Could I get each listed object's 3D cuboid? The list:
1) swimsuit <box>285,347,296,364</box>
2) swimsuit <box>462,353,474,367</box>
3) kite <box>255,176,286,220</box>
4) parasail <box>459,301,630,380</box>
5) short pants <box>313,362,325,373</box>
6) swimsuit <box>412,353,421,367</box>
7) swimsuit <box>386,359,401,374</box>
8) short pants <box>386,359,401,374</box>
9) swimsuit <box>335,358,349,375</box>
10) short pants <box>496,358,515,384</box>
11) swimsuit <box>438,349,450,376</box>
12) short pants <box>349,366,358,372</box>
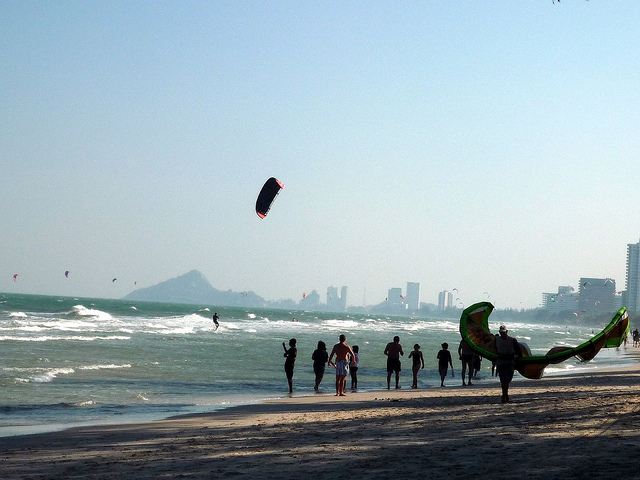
[{"bbox_3d":[-0.807,3.128,17.180,0.253,0.442,0.466,1,-8,-2],"label":"swimsuit"},{"bbox_3d":[4.660,3.788,20.040,0.473,0.470,1.428,0,-16,11],"label":"swimsuit"},{"bbox_3d":[-1.898,-1.489,22.195,0.538,1.249,0.967,9,-12,-44],"label":"kite"},{"bbox_3d":[5.686,2.687,16.675,4.524,1.938,5.123,2,-8,-9],"label":"parasail"},{"bbox_3d":[-0.034,3.476,17.361,0.281,0.280,0.424,1,-8,-3],"label":"short pants"},{"bbox_3d":[2.981,3.709,19.665,0.205,0.428,0.316,0,-8,5],"label":"swimsuit"},{"bbox_3d":[2.108,3.613,18.270,0.541,0.392,0.680,-4,-5,9],"label":"swimsuit"},{"bbox_3d":[2.105,3.618,18.262,0.524,0.395,0.684,-3,-4,8],"label":"short pants"},{"bbox_3d":[0.563,3.352,16.862,0.331,0.443,0.442,1,-8,-1],"label":"swimsuit"},{"bbox_3d":[4.088,2.882,13.964,0.389,0.526,0.517,-1,-8,16],"label":"short pants"},{"bbox_3d":[3.958,3.899,20.236,0.298,0.840,0.514,0,-8,10],"label":"swimsuit"},{"bbox_3d":[0.978,3.843,18.912,0.256,0.192,0.234,-4,-12,14],"label":"short pants"}]
